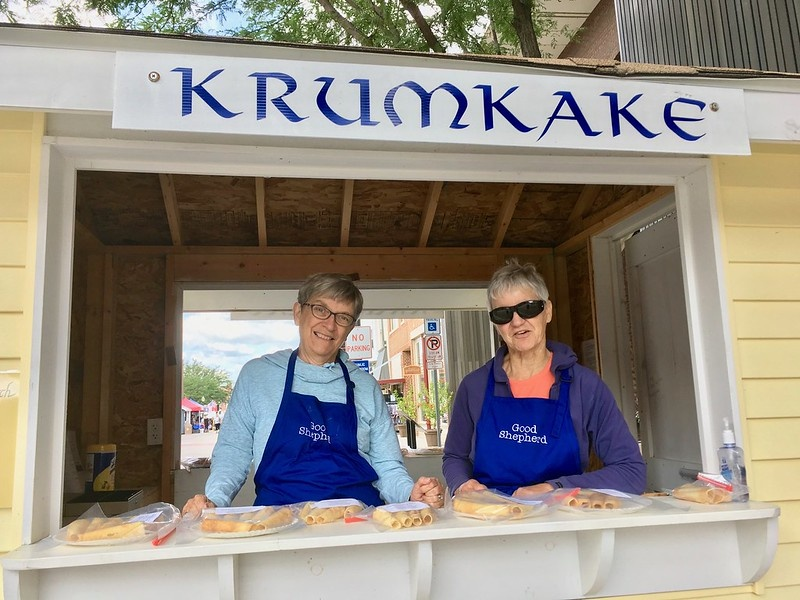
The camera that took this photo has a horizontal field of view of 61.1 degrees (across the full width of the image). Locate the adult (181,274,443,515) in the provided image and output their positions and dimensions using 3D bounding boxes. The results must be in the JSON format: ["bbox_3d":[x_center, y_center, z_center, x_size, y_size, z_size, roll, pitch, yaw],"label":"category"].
[{"bbox_3d":[-0.594,0.500,4.035,1.593,1.533,0.935,11,-40,-19],"label":"adult"}]

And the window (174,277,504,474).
[{"bbox_3d":[-0.433,0.433,4.394,2.407,1.217,0.105,3,-22,-18],"label":"window"}]

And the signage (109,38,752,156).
[{"bbox_3d":[0.194,-0.773,2.727,2.565,0.368,0.041,1,-4,-4],"label":"signage"}]

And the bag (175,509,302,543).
[{"bbox_3d":[-0.597,0.807,2.456,0.459,0.101,0.216,-2,-11,0],"label":"bag"}]

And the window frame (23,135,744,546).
[{"bbox_3d":[-0.121,0.151,3.662,2.879,1.315,0.190,1,-18,-10],"label":"window frame"}]

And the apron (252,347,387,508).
[{"bbox_3d":[-0.321,0.548,2.838,0.508,0.603,0.203,6,-23,-16],"label":"apron"}]

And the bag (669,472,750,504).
[{"bbox_3d":[1.244,0.735,2.722,0.183,0.056,0.156,-4,-6,42],"label":"bag"}]

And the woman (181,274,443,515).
[{"bbox_3d":[-0.594,0.500,4.035,1.593,1.533,0.935,11,-40,-19],"label":"woman"}]

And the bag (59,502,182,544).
[{"bbox_3d":[-1.026,0.814,2.454,0.413,0.118,0.262,-1,-11,-2],"label":"bag"}]

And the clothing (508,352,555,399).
[{"bbox_3d":[0.604,0.369,3.115,0.171,0.203,0.113,-18,-41,18],"label":"clothing"}]
